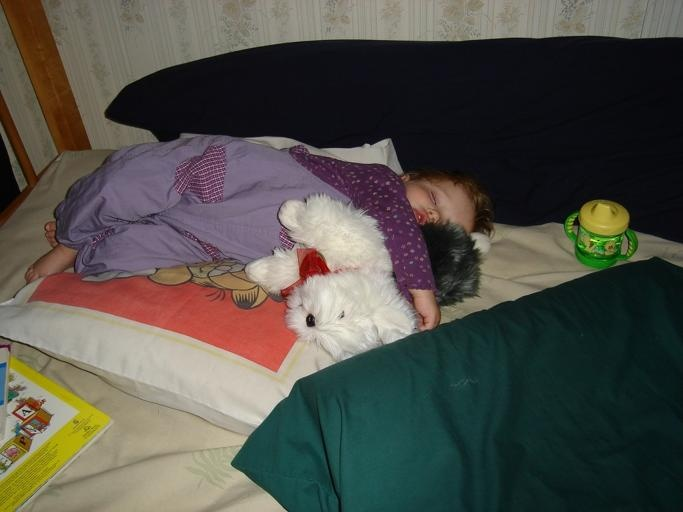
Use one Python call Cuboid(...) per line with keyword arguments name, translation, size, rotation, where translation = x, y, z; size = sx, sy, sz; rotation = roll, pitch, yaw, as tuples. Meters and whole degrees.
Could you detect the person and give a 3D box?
Cuboid(name="person", translation=(-0.239, -0.075, 1.424), size=(0.954, 0.393, 0.578), rotation=(0, 58, -18))
